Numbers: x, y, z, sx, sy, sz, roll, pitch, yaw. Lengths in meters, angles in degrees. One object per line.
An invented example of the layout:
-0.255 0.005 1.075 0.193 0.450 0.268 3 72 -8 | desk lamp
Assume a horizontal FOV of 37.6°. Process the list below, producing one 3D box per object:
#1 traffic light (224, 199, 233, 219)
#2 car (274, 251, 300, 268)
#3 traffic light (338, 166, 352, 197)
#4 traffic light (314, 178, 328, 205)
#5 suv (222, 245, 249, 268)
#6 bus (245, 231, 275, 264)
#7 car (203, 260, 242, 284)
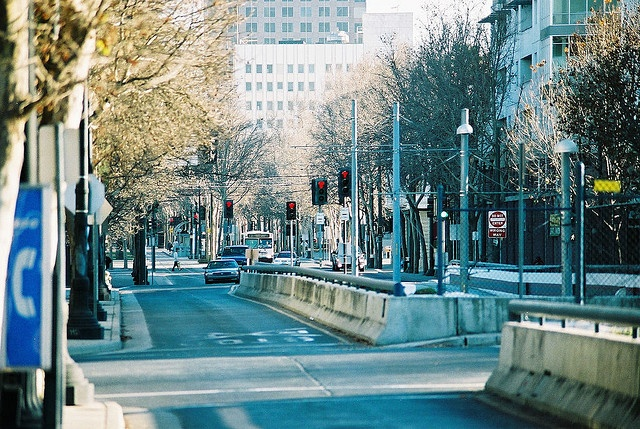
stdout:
-4.981 -0.399 50.820 0.393 0.991 0.926 1 -4 -11 | traffic light
-2.835 3.367 73.311 1.255 1.024 2.925 0 -6 3 | car
0.882 -1.298 34.786 0.399 1.104 1.042 0 -4 -3 | traffic light
-0.052 -0.919 35.479 0.503 0.970 0.937 0 -4 -5 | traffic light
-5.819 2.535 62.397 1.331 1.260 2.442 -1 -9 1 | suv
-4.912 2.414 76.135 1.466 2.040 4.226 0 -3 -7 | bus
-5.367 3.046 50.896 1.858 1.298 1.322 1 -5 -17 | car
